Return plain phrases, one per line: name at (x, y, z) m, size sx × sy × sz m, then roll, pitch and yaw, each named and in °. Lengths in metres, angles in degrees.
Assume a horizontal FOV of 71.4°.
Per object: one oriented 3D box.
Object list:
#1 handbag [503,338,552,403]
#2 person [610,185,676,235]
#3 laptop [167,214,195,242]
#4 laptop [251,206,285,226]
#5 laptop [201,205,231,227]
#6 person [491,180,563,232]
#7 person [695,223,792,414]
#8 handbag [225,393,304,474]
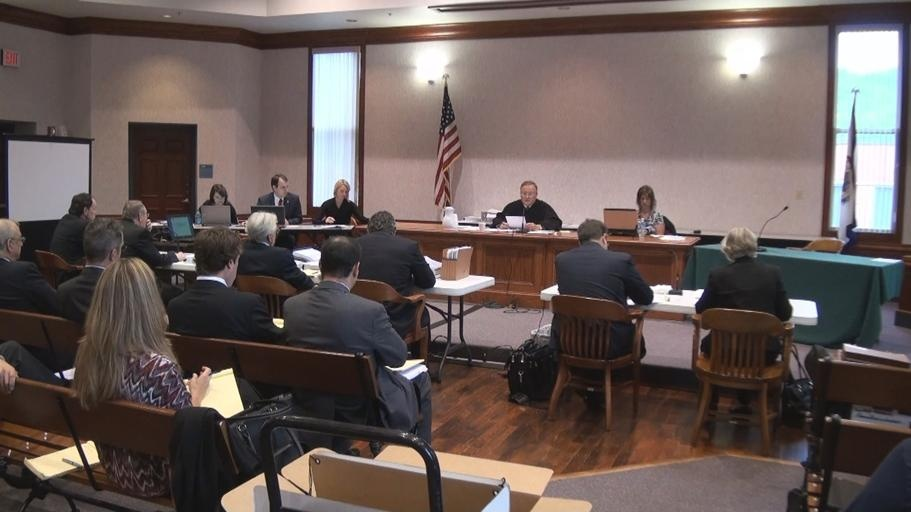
handbag at (0.815, 1.152, 6.621) m, size 0.580 × 0.578 × 0.617 m, roll 0°, pitch 2°, yaw 15°
person at (2.747, -0.606, 9.301) m, size 1.051 × 0.779 × 0.692 m, roll 0°, pitch 3°, yaw 20°
laptop at (-3.785, -0.367, 8.720) m, size 0.046 × 0.434 × 0.466 m, roll -15°, pitch -11°, yaw 31°
laptop at (-2.250, -0.478, 7.645) m, size 0.446 × 0.272 × 0.311 m, roll 2°, pitch 2°, yaw 2°
laptop at (-3.454, -0.568, 9.153) m, size 0.493 × 0.329 × 0.336 m, roll 1°, pitch 6°, yaw -6°
person at (1.167, -0.702, 9.730) m, size 1.115 × 1.238 × 0.809 m, roll 1°, pitch 1°, yaw 9°
person at (2.633, 0.188, 5.701) m, size 0.812 × 0.821 × 0.481 m, roll 3°, pitch 9°, yaw 22°
handbag at (-1.238, 1.162, 4.091) m, size 0.293 × 0.485 × 0.531 m, roll -14°, pitch 3°, yaw 37°
